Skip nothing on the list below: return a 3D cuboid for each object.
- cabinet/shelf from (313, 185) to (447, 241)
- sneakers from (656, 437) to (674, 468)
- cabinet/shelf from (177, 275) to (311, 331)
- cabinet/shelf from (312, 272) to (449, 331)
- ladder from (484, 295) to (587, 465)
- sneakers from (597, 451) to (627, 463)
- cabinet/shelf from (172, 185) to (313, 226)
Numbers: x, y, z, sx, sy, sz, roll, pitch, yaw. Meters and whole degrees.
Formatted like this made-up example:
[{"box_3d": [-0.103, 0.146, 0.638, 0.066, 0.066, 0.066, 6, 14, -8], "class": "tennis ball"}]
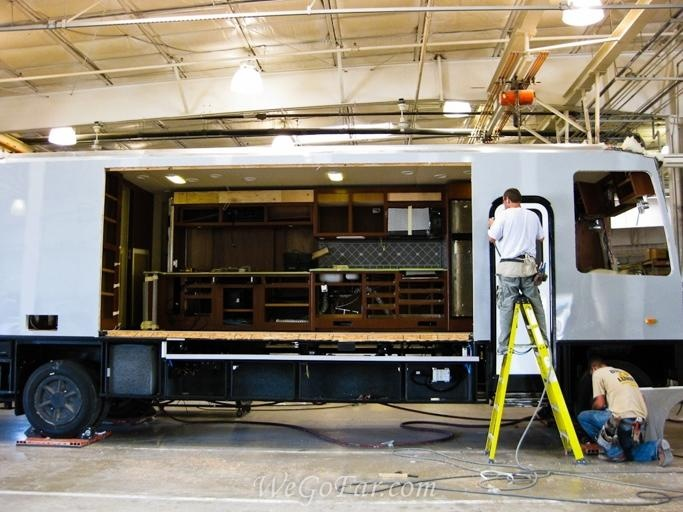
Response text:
[{"box_3d": [0.590, -0.615, 9.937, 1.950, 0.574, 0.541, 1, -5, 12], "class": "cabinet/shelf"}, {"box_3d": [3.249, 1.966, 6.467, 0.120, 0.281, 0.135, 5, -20, -35], "class": "sneakers"}, {"box_3d": [-1.515, 0.669, 9.667, 2.105, 0.696, 0.555, 0, 6, -6], "class": "cabinet/shelf"}, {"box_3d": [0.612, 0.618, 9.623, 1.998, 0.779, 0.676, -1, 3, 16], "class": "cabinet/shelf"}, {"box_3d": [1.958, 1.249, 6.576, 1.042, 1.640, 0.580, 0, -1, -12], "class": "ladder"}, {"box_3d": [2.761, 2.035, 6.576, 0.295, 0.116, 0.098, 4, -4, 19], "class": "sneakers"}, {"box_3d": [-1.494, -0.737, 9.784, 2.127, 0.483, 0.843, 0, -1, -4], "class": "cabinet/shelf"}]
